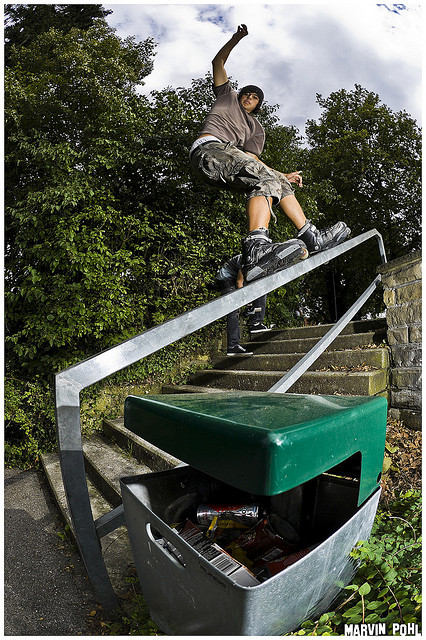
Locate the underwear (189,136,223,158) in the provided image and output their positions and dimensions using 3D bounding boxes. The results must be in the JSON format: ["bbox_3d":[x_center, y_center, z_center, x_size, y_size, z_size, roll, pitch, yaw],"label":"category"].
[{"bbox_3d":[-0.065,-1.159,2.973,0.113,0.106,0.280,-7,15,-39],"label":"underwear"}]

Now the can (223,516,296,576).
[{"bbox_3d":[0.139,0.595,1.200,0.159,0.038,0.090,-28,44,-37],"label":"can"}]

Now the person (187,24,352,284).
[{"bbox_3d":[0.390,-1.089,2.937,1.077,1.744,0.820,6,-23,9],"label":"person"}]
